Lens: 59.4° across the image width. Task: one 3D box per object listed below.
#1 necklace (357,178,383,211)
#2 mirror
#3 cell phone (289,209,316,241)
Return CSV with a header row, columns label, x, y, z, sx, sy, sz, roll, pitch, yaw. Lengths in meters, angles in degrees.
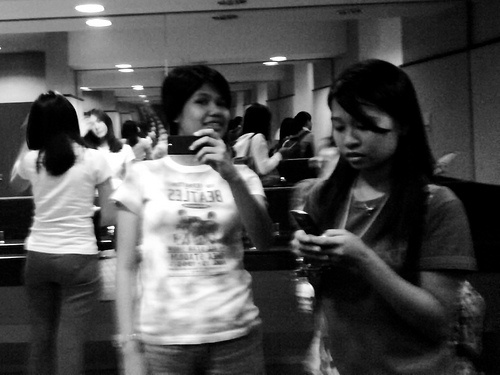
label,x,y,z,sx,sy,sz,roll,pitch,yaw
necklace,0.275,0.013,1.021,0.059,0.073,0.043,13,12,38
mirror,-0.005,-0.244,1.692,0.810,0.344,0.269,13,23,32
cell phone,0.126,0.084,1.045,0.032,0.059,0.129,-23,-25,34
